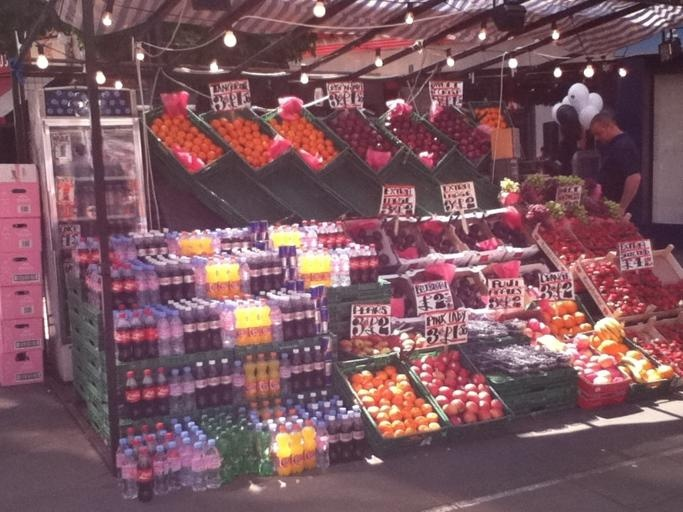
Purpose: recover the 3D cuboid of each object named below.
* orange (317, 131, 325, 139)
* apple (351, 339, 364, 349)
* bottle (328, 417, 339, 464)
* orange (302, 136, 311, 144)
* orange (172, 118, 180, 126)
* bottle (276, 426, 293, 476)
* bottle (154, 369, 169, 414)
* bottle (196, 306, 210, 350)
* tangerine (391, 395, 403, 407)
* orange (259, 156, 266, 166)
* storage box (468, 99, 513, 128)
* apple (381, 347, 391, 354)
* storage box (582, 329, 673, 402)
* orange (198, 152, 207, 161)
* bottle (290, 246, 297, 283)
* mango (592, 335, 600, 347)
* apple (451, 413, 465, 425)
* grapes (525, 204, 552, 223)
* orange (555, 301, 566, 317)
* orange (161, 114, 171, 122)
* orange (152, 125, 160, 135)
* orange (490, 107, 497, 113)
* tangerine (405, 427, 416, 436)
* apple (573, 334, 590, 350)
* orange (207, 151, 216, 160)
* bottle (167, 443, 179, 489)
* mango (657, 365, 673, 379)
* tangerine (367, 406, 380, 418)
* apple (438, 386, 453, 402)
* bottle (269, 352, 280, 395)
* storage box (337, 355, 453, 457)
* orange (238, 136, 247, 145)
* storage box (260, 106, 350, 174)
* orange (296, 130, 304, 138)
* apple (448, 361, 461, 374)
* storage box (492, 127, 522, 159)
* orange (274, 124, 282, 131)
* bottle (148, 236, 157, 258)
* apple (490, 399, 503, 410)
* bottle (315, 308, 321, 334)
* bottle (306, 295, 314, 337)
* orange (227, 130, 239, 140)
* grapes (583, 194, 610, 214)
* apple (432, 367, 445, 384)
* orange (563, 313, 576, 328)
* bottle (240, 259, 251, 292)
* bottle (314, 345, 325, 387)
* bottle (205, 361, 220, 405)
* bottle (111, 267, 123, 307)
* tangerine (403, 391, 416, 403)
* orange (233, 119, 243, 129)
[{"bbox_3d":[-0.277,-1.709,8.783,0.070,0.096,0.051,-12,5,-4],"label":"orange"},{"bbox_3d":[0.174,0.881,6.369,0.103,0.092,0.090,8,5,26],"label":"apple"},{"bbox_3d":[-0.063,1.578,5.398,0.093,0.396,0.127,-2,12,-2],"label":"bottle"},{"bbox_3d":[-0.477,-1.628,8.700,0.130,0.090,0.072,-2,12,-1],"label":"orange"},{"bbox_3d":[-2.176,-1.769,8.218,0.097,0.106,0.106,-4,34,-6],"label":"orange"},{"bbox_3d":[-0.482,1.607,5.203,0.135,0.418,0.111,-3,12,-6],"label":"bottle"},{"bbox_3d":[-1.521,1.136,5.294,0.118,0.410,0.052,-4,12,-15],"label":"bottle"},{"bbox_3d":[-1.199,0.626,5.446,0.100,0.371,0.147,6,14,30],"label":"bottle"},{"bbox_3d":[0.535,1.335,5.793,0.090,0.118,0.094,-7,2,-6],"label":"tangerine"},{"bbox_3d":[-1.050,-1.268,8.324,0.108,0.102,0.111,3,9,-8],"label":"orange"},{"bbox_3d":[2.425,-2.215,10.064,0.540,0.152,0.601,1,49,-13],"label":"storage box"},{"bbox_3d":[0.470,0.971,6.382,0.057,0.059,0.061,-9,36,-4],"label":"apple"},{"bbox_3d":[3.108,1.089,6.756,0.584,0.254,0.810,-19,45,-29],"label":"storage box"},{"bbox_3d":[-1.808,-1.304,8.144,0.091,0.095,0.087,34,-4,1],"label":"orange"},{"bbox_3d":[-0.486,0.063,6.102,0.114,0.310,0.232,-2,12,-5],"label":"bottle"},{"bbox_3d":[2.881,0.951,7.008,0.093,0.105,0.101,-1,5,5],"label":"mango"},{"bbox_3d":[1.083,1.499,5.752,0.110,0.055,0.125,-1,13,3],"label":"apple"},{"bbox_3d":[2.567,-0.550,8.095,0.239,0.259,0.137,18,-17,14],"label":"grapes"},{"bbox_3d":[2.563,0.614,7.260,0.133,0.189,0.140,0,4,2],"label":"orange"},{"bbox_3d":[-2.315,-1.823,8.219,0.101,0.130,0.106,-14,13,1],"label":"orange"},{"bbox_3d":[-2.402,-1.622,8.085,0.136,0.142,0.099,10,16,41],"label":"orange"},{"bbox_3d":[2.475,-2.358,10.053,0.098,0.037,0.104,0,24,-6],"label":"orange"},{"bbox_3d":[0.621,1.552,5.553,0.096,0.050,0.066,-3,13,-5],"label":"tangerine"},{"bbox_3d":[2.691,0.946,6.934,0.159,0.134,0.125,-17,11,34],"label":"apple"},{"bbox_3d":[-1.687,-1.312,8.123,0.096,0.126,0.101,-5,-7,3],"label":"orange"},{"bbox_3d":[-1.343,1.652,4.990,0.100,0.425,0.107,-1,12,0],"label":"bottle"},{"bbox_3d":[3.431,1.206,6.551,0.126,0.161,0.125,2,-9,-39],"label":"mango"},{"bbox_3d":[0.300,1.398,5.668,0.082,0.086,0.078,-6,10,-44],"label":"tangerine"},{"bbox_3d":[0.998,1.302,5.934,0.106,0.136,0.111,0,4,1],"label":"apple"},{"bbox_3d":[-0.598,1.076,5.603,0.105,0.350,0.073,-3,12,-9],"label":"bottle"},{"bbox_3d":[0.417,1.341,5.791,0.611,0.308,0.918,-4,36,-20],"label":"storage box"},{"bbox_3d":[-1.313,-1.548,8.364,0.094,0.098,0.049,-28,-1,-23],"label":"orange"},{"bbox_3d":[-0.498,-1.680,8.718,0.786,1.067,0.349,-29,-15,-43],"label":"storage box"},{"bbox_3d":[-0.579,-1.707,8.714,0.090,0.052,0.091,-9,21,-32],"label":"orange"},{"bbox_3d":[1.148,1.113,6.273,0.089,0.112,0.098,-1,37,4],"label":"apple"},{"bbox_3d":[2.508,-1.705,9.518,0.387,0.486,0.648,3,14,19],"label":"storage box"},{"bbox_3d":[-0.876,-1.796,8.745,0.091,0.092,0.095,-1,2,-7],"label":"orange"},{"bbox_3d":[-1.861,-0.108,6.182,0.123,0.181,0.107,-5,13,-18],"label":"bottle"},{"bbox_3d":[1.477,1.393,5.880,0.073,0.097,0.077,-6,3,0],"label":"apple"},{"bbox_3d":[-0.208,0.614,5.863,0.048,0.227,0.109,-1,12,2],"label":"bottle"},{"bbox_3d":[-0.290,0.552,5.792,0.099,0.363,0.090,-1,12,0],"label":"bottle"},{"bbox_3d":[-1.461,-1.629,8.373,0.121,0.133,0.060,-5,3,-10],"label":"orange"},{"bbox_3d":[3.491,-0.735,8.589,0.211,0.098,0.309,-2,24,-13],"label":"grapes"},{"bbox_3d":[0.964,1.175,6.129,0.107,0.163,0.113,4,-15,0],"label":"apple"},{"bbox_3d":[2.639,0.742,7.199,0.125,0.160,0.126,1,1,-2],"label":"orange"},{"bbox_3d":[-0.906,0.193,5.906,0.095,0.310,0.055,-1,12,0],"label":"bottle"},{"bbox_3d":[-0.203,1.013,5.781,0.122,0.382,0.078,-7,13,-25],"label":"bottle"},{"bbox_3d":[-1.116,1.088,5.434,0.102,0.404,0.095,-1,12,0],"label":"bottle"},{"bbox_3d":[-2.027,0.290,5.643,0.094,0.329,0.089,-1,12,0],"label":"bottle"},{"bbox_3d":[0.651,1.312,5.844,0.083,0.092,0.087,2,4,-1],"label":"tangerine"},{"bbox_3d":[-1.395,-1.815,8.491,0.121,0.083,0.153,-3,29,-12],"label":"orange"}]
